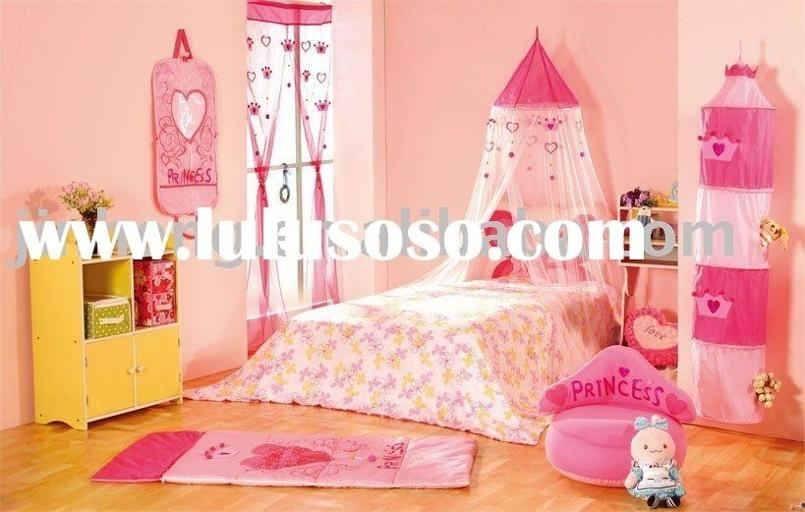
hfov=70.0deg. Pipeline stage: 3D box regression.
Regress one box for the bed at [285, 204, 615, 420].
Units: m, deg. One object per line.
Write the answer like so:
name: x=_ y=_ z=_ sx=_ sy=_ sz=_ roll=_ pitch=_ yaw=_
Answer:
bed: x=0.341 y=0.599 z=4.887 sx=2.515 sy=0.993 sz=1.706 roll=4 pitch=12 yaw=22

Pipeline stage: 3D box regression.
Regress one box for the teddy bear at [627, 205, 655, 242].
teddy bear: x=2.137 y=-0.253 z=5.179 sx=0.250 sy=0.397 sz=0.087 roll=5 pitch=1 yaw=37

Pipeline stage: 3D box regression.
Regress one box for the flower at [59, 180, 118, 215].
flower: x=-2.402 y=-0.438 z=4.404 sx=0.290 sy=0.208 sz=0.318 roll=1 pitch=1 yaw=6

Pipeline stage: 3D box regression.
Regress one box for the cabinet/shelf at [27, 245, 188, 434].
cabinet/shelf: x=-2.232 y=0.606 z=4.230 sx=0.628 sy=1.703 sz=1.196 roll=1 pitch=2 yaw=29

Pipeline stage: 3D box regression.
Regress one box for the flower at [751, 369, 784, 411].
flower: x=2.448 y=0.908 z=3.869 sx=0.165 sy=0.252 sz=0.093 roll=5 pitch=12 yaw=27

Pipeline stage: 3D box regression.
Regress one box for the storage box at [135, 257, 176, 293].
storage box: x=-1.893 y=0.134 z=4.402 sx=0.241 sy=0.268 sz=0.257 roll=0 pitch=1 yaw=25

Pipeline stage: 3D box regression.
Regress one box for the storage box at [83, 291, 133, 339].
storage box: x=-2.270 y=0.471 z=4.273 sx=0.413 sy=0.262 sz=0.437 roll=-2 pitch=0 yaw=-16

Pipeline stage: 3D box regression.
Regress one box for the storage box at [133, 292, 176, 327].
storage box: x=-1.967 y=0.379 z=4.520 sx=0.218 sy=0.290 sz=0.292 roll=3 pitch=3 yaw=21

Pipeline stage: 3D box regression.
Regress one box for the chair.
chair: x=1.269 y=0.988 z=3.446 sx=0.794 sy=0.743 sz=0.752 roll=-1 pitch=-4 yaw=7
